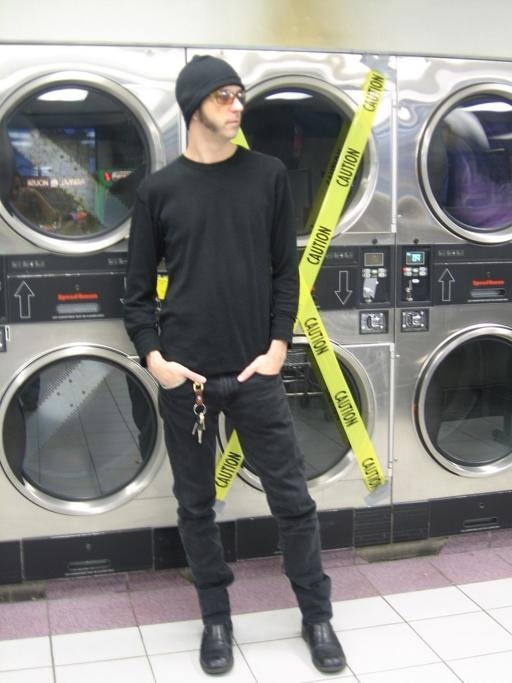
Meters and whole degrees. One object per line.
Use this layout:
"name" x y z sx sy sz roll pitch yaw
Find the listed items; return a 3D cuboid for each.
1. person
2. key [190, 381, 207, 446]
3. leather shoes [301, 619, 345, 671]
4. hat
"person" -0.056 0.080 1.373 0.497 1.464 0.260 -2 3 -16
"key" -0.132 0.170 1.322 0.036 0.153 0.077 -1 3 -6
"leather shoes" 0.172 0.756 1.416 0.051 0.063 0.144 -1 0 -9
"hat" -0.095 -0.554 1.317 0.148 0.163 0.128 1 3 33
